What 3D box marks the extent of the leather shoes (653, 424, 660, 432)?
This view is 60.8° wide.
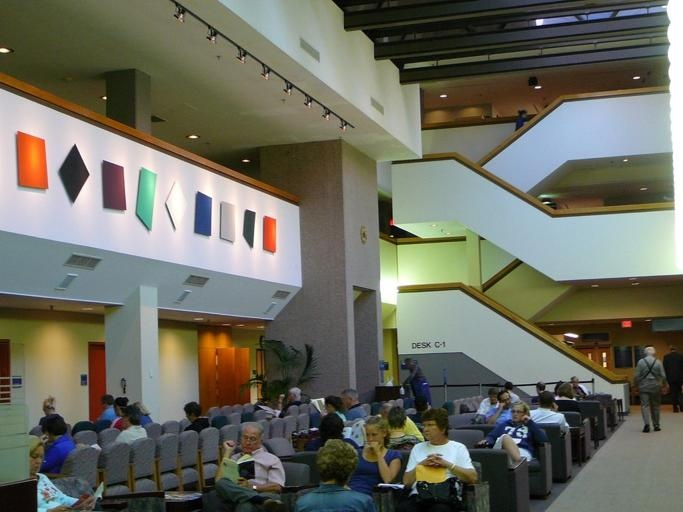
[{"bbox_3d":[6.648,3.642,12.291,0.207,0.145,0.069,-3,1,-34],"label":"leather shoes"}]

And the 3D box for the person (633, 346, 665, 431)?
[{"bbox_3d":[6.741,2.882,12.744,0.584,1.754,1.587,-7,-12,27],"label":"person"}]

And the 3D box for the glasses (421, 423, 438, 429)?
[{"bbox_3d":[0.734,1.403,4.800,0.063,0.033,0.080,-20,-36,33],"label":"glasses"}]

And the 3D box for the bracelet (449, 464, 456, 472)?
[{"bbox_3d":[0.869,1.669,4.568,0.018,0.049,0.036,8,0,-24],"label":"bracelet"}]
